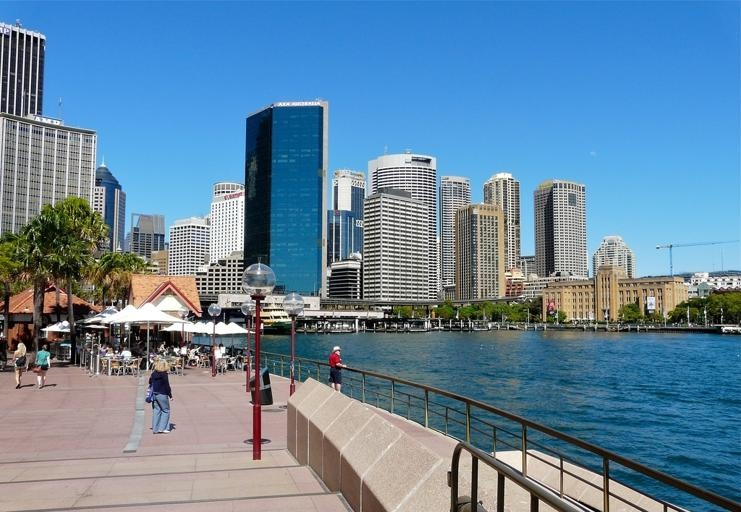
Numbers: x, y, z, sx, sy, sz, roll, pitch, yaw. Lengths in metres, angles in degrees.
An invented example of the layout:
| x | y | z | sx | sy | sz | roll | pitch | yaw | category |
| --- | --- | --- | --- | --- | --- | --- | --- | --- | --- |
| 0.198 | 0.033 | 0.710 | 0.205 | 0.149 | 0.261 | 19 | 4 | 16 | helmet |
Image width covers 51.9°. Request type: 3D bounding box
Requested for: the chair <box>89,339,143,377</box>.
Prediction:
| x | y | z | sx | sy | sz | roll | pitch | yaw | category |
| --- | --- | --- | --- | --- | --- | --- | --- | --- | --- |
| -14.859 | 6.253 | 44.697 | 3.052 | 1.432 | 3.573 | -1 | -5 | -3 | chair |

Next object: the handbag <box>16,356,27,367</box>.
| x | y | z | sx | sy | sz | roll | pitch | yaw | category |
| --- | --- | --- | --- | --- | --- | --- | --- | --- | --- |
| -17.511 | 5.327 | 38.115 | 0.253 | 0.568 | 0.619 | -2 | -5 | 9 | handbag |
